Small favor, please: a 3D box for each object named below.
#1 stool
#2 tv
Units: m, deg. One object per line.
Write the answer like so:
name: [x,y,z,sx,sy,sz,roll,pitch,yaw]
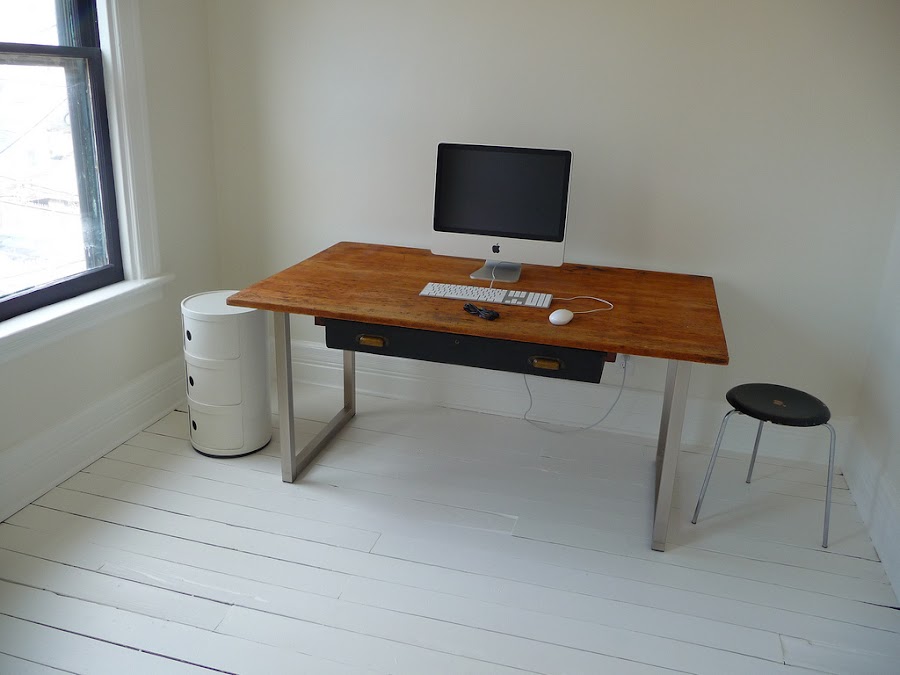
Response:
stool: [1.340,0.509,2.677,0.493,0.467,0.415,5,9,43]
tv: [0.217,-0.540,2.885,0.600,0.548,0.189,5,26,9]
